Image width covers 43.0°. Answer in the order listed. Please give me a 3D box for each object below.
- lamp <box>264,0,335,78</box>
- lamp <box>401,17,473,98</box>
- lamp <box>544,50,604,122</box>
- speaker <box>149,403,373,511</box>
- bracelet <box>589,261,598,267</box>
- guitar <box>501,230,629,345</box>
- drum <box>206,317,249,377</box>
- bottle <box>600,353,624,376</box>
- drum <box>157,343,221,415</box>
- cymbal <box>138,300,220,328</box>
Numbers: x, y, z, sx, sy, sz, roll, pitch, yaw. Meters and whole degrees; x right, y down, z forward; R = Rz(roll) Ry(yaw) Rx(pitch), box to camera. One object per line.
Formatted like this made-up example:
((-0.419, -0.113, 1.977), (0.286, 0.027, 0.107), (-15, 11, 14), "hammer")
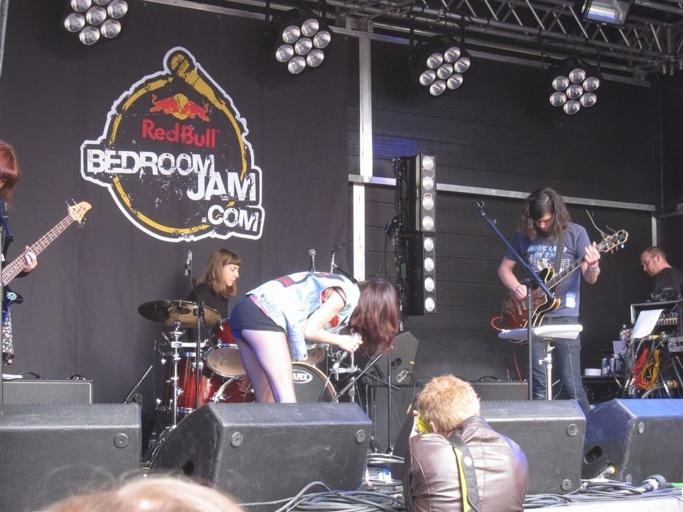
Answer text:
((-0.300, -1.913, 7.878), (0.640, 0.417, 0.791), (-14, -44, -13), "lamp")
((0.939, -1.934, 8.213), (0.579, 0.687, 0.473), (0, -8, 8), "lamp")
((2.363, -1.721, 8.734), (0.526, 0.449, 0.517), (-2, -9, 18), "lamp")
((-0.297, 0.894, 4.040), (0.713, 0.558, 0.559), (9, 2, -35), "speaker")
((1.746, 0.046, 5.987), (0.030, 0.035, 0.031), (-5, 7, -31), "bracelet")
((1.788, 0.265, 6.993), (0.137, 0.414, 1.080), (10, -42, -24), "guitar")
((-0.776, 0.637, 5.976), (0.296, 0.333, 0.317), (-23, 32, -1), "drum")
((2.592, 1.028, 8.259), (0.186, 0.205, 0.139), (2, 1, -35), "bottle")
((-1.196, 0.946, 6.761), (0.552, 0.597, 0.576), (0, -4, 40), "drum")
((-1.270, 0.435, 6.790), (0.351, 0.079, 0.359), (21, -38, -29), "cymbal")
